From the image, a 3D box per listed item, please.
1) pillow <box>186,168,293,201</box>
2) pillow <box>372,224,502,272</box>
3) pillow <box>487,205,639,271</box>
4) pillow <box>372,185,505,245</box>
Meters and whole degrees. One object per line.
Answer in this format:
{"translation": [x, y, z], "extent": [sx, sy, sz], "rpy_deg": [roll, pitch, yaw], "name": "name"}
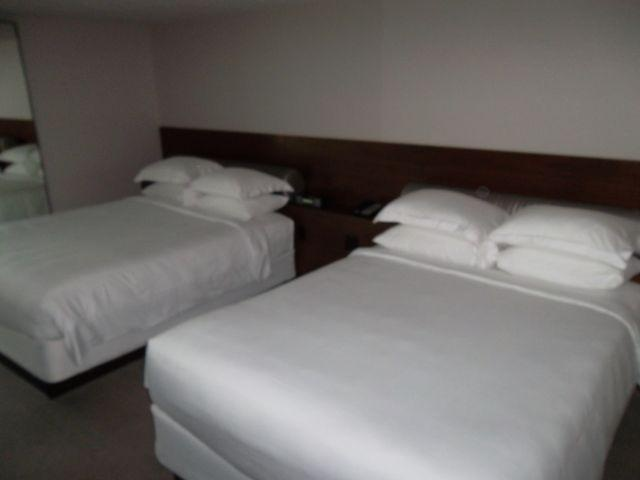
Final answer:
{"translation": [-0.608, -0.445, 3.664], "extent": [0.380, 0.151, 0.497], "rpy_deg": [9, 13, 36], "name": "pillow"}
{"translation": [0.719, 0.109, 3.008], "extent": [0.688, 0.144, 0.435], "rpy_deg": [14, 3, 43], "name": "pillow"}
{"translation": [1.311, -0.046, 2.478], "extent": [0.471, 0.130, 0.435], "rpy_deg": [16, 39, 37], "name": "pillow"}
{"translation": [0.730, -0.170, 2.848], "extent": [0.472, 0.137, 0.422], "rpy_deg": [20, 30, 38], "name": "pillow"}
